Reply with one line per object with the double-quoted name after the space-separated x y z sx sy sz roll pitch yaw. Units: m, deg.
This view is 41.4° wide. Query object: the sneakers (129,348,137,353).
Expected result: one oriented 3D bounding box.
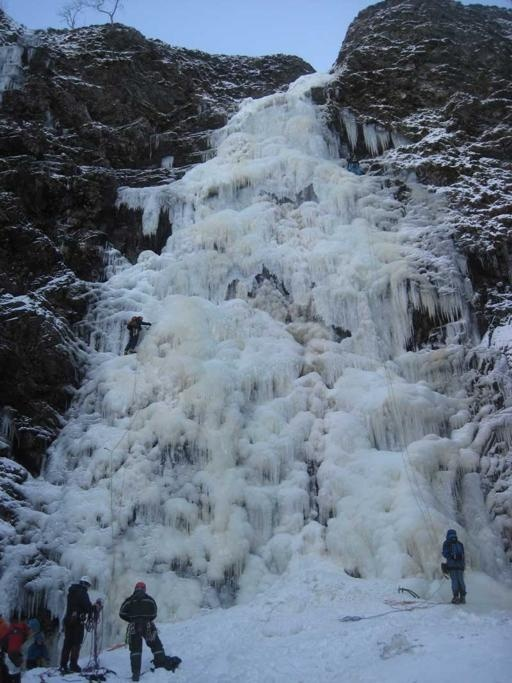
-2.728 0.219 14.963 0.058 0.104 0.153 14 41 35 "sneakers"
